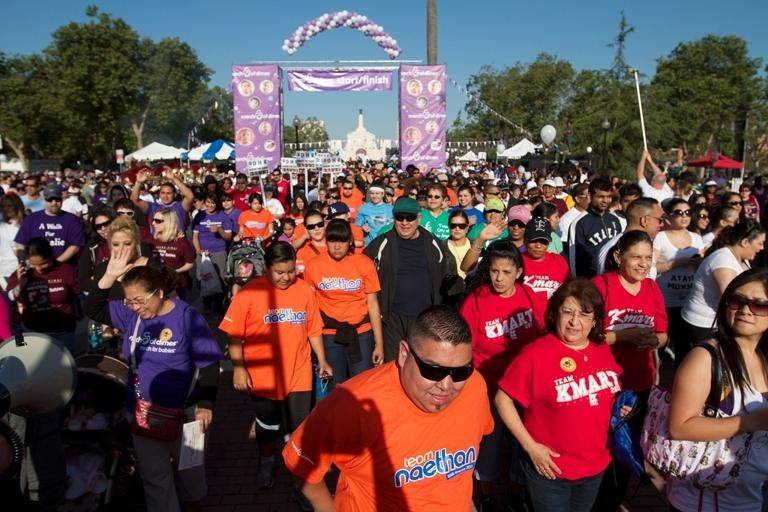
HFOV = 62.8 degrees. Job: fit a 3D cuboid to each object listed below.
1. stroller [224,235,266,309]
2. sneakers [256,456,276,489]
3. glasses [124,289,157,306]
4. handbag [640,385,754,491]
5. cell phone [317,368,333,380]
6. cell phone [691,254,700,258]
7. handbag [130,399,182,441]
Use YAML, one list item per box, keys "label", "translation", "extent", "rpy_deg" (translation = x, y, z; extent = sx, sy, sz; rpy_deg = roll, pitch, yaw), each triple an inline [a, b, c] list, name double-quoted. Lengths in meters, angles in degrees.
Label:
- label: "stroller"
  translation: [-2.314, 0.163, 10.514]
  extent: [0.779, 1.286, 1.255]
  rpy_deg: [0, 0, -5]
- label: "sneakers"
  translation: [-1.358, 2.479, 7.224]
  extent: [0.211, 0.323, 0.213]
  rpy_deg: [-2, 6, -13]
- label: "glasses"
  translation: [-2.385, 0.413, 6.148]
  extent: [0.296, 0.129, 0.067]
  rpy_deg: [-1, 6, -11]
- label: "handbag"
  translation: [2.625, 1.575, 5.293]
  extent: [0.818, 0.842, 0.374]
  rpy_deg: [4, 7, 33]
- label: "cell phone"
  translation: [-0.713, 1.408, 7.425]
  extent: [0.240, 0.138, 0.156]
  rpy_deg: [8, -20, -44]
- label: "cell phone"
  translation: [4.262, 0.005, 8.530]
  extent: [0.067, 0.019, 0.074]
  rpy_deg: [-23, 16, 0]
- label: "handbag"
  translation: [-2.294, 1.659, 6.317]
  extent: [0.483, 0.419, 0.151]
  rpy_deg: [-2, 6, -13]
